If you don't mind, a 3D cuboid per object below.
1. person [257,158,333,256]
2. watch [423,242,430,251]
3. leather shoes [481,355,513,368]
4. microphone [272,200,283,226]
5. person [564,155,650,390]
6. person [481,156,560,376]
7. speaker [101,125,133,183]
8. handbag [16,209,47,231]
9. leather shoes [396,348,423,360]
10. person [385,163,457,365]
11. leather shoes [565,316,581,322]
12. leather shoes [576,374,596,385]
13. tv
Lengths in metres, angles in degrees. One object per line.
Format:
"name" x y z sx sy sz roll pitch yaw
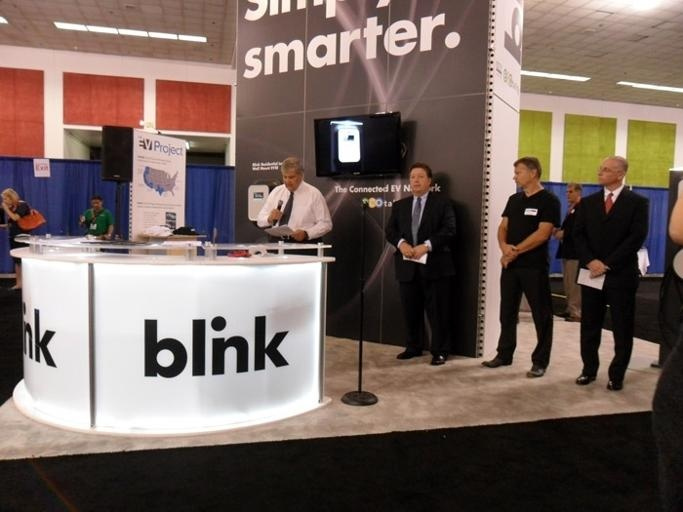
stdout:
"person" -0.426 -0.525 5.929 0.804 0.927 0.953 -1 13 -10
"watch" 0.804 -0.090 5.560 0.059 0.075 0.046 5 13 17
"leather shoes" 1.482 1.007 5.652 0.311 0.138 0.111 3 -3 -10
"microphone" -0.577 -0.423 5.563 0.054 0.226 0.157 13 -25 -28
"person" 2.270 0.147 5.089 0.566 1.965 0.451 7 14 27
"person" 1.712 0.102 5.479 0.574 1.985 0.692 5 13 19
"speaker" -2.641 -1.193 6.968 0.390 0.670 0.266 -3 13 -16
"handbag" -4.809 -0.547 9.129 0.200 0.417 0.376 -12 2 32
"leather shoes" 0.678 0.975 5.896 0.286 0.124 0.099 3 -4 -29
"person" 0.754 0.078 5.715 0.680 1.896 0.484 5 13 17
"leather shoes" 3.028 0.824 7.701 0.141 0.065 0.063 6 -2 5
"leather shoes" 2.147 1.086 5.170 0.176 0.081 0.076 3 -5 -30
"tv" 0.156 -1.171 6.217 0.978 0.685 0.113 9 14 29
